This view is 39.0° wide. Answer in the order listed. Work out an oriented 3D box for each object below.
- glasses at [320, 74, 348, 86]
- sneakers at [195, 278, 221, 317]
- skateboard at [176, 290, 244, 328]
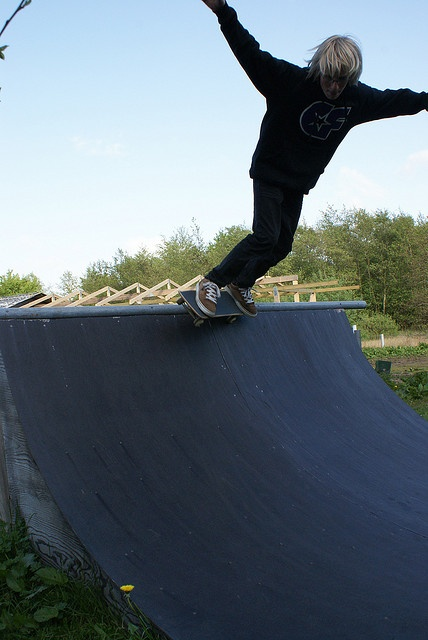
[{"bbox_3d":[0.529,-1.043,2.611,0.067,0.025,0.051,5,3,41],"label":"glasses"},{"bbox_3d":[-0.038,-0.118,2.876,0.075,0.087,0.214,25,22,-35],"label":"sneakers"},{"bbox_3d":[-0.040,-0.081,2.979,0.374,0.170,0.089,-7,-28,-49],"label":"skateboard"}]
